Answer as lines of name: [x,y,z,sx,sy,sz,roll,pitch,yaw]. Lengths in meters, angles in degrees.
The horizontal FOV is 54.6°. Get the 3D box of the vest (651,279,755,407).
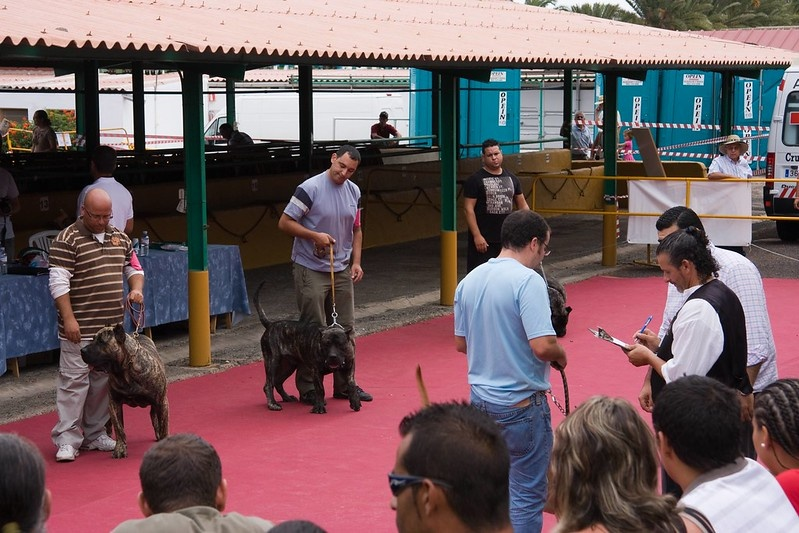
vest: [1.886,0.431,4.756,0.549,0.788,0.557,-17,17,-7]

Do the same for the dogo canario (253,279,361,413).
dogo canario: [-0.938,0.810,7.572,0.478,1.243,1.508,-4,4,-44]

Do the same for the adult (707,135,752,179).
adult: [5.714,-1.796,13.369,0.821,0.867,0.545,0,0,-8]

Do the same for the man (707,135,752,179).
man: [5.727,-1.795,13.357,0.798,0.862,0.569,-1,1,-6]

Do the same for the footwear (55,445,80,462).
footwear: [-2.768,1.558,6.443,0.085,0.096,0.211,1,-4,-10]

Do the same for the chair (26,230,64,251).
chair: [-4.215,-0.310,9.230,0.311,0.417,0.292,-10,11,-43]

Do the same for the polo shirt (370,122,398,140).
polo shirt: [-0.464,-4.071,23.324,0.768,0.782,1.088,-2,4,-9]

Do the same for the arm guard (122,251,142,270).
arm guard: [-2.430,-0.052,7.044,0.137,0.234,0.191,-4,-2,39]

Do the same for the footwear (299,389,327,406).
footwear: [-0.864,1.304,7.791,0.248,0.119,0.139,-7,4,42]
